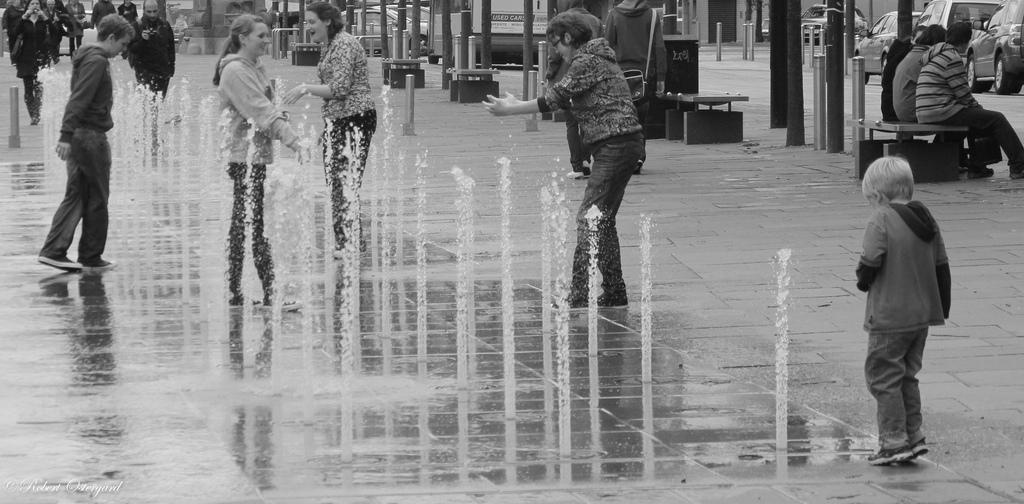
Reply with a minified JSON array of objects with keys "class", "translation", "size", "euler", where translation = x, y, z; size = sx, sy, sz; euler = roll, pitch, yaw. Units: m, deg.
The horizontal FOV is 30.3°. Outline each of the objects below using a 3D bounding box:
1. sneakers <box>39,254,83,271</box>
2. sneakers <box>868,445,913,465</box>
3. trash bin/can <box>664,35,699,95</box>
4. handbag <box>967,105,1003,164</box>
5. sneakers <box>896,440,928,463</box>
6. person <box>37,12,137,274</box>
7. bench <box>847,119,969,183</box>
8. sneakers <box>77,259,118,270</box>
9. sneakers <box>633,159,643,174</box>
[{"class":"sneakers","translation":[-6.081,0.161,25.704],"size":[0.635,0.177,0.205],"euler":[9,10,-20]},{"class":"sneakers","translation":[4.317,2.318,21.531],"size":[0.583,0.192,0.180],"euler":[-2,2,1]},{"class":"trash bin/can","translation":[3.058,-3.393,34.512],"size":[0.575,1.019,0.391],"euler":[-1,6,1]},{"class":"handbag","translation":[7.320,-1.802,29.503],"size":[0.639,0.748,0.991],"euler":[-7,6,15]},{"class":"sneakers","translation":[4.584,2.269,21.556],"size":[0.188,0.172,0.462],"euler":[2,-18,-44]},{"class":"person","translation":[-5.799,-1.485,25.774],"size":[1.350,3.445,0.604],"euler":[-3,7,-15]},{"class":"bench","translation":[6.273,-1.608,29.840],"size":[1.499,0.861,2.064],"euler":[0,2,-12]},{"class":"sneakers","translation":[-5.634,0.184,25.830],"size":[0.471,0.133,0.155],"euler":[-3,5,-11]},{"class":"sneakers","translation":[1.789,-1.222,27.221],"size":[0.132,0.271,0.121],"euler":[5,28,2]}]
